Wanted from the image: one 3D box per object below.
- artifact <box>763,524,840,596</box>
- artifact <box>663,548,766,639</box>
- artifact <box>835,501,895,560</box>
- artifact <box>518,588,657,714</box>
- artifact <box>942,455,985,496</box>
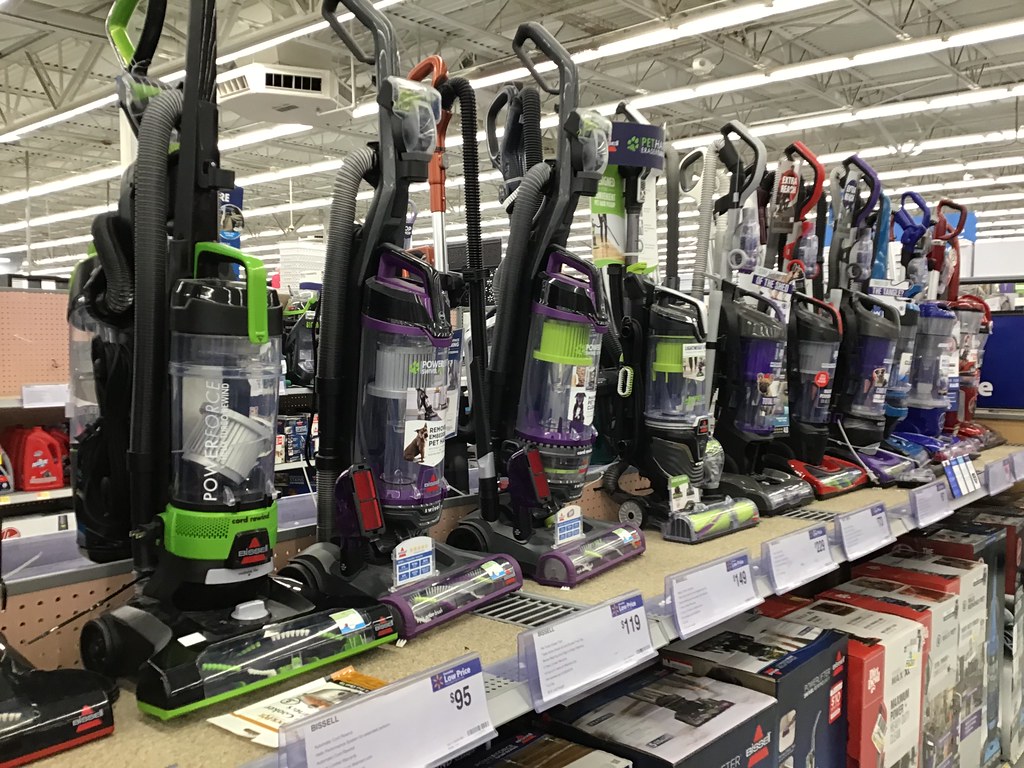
[{"bbox_3d":[0.839,0.511,2.212,0.321,0.150,0.075,-7,3,-37],"label":"artifact"},{"bbox_3d":[0.535,0.538,1.918,0.067,0.146,0.296,0,-29,-35],"label":"artifact"},{"bbox_3d":[1.172,0.488,2.495,0.320,0.152,0.070,-7,4,-38],"label":"artifact"},{"bbox_3d":[0.161,0.594,1.687,0.396,0.179,0.101,-9,-11,-46],"label":"artifact"},{"bbox_3d":[1.887,0.400,3.201,0.193,0.178,0.045,1,-13,-38],"label":"artifact"}]
